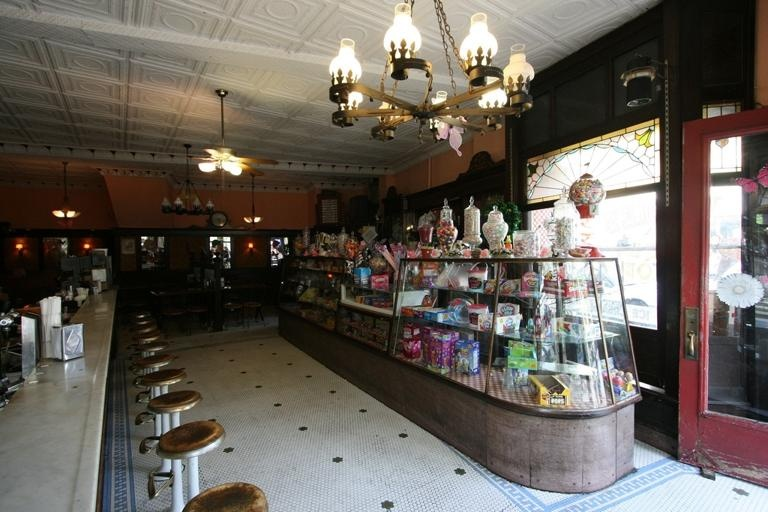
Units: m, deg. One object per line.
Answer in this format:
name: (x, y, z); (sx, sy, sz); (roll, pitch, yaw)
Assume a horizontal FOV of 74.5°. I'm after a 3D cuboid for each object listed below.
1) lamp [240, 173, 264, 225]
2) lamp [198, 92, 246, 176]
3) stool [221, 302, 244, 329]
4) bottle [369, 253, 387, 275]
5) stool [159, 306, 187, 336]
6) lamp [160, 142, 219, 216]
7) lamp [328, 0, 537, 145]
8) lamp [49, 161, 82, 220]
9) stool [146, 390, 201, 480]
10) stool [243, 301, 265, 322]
lamp: (-3.758, -1.488, 14.309); (0.563, 1.433, 1.280); (-3, 1, -14)
lamp: (-2.460, -1.939, 7.654); (0.971, 1.110, 0.851); (0, 8, -16)
stool: (-3.570, 1.390, 11.898); (0.636, 0.680, 0.605); (1, -2, -26)
bottle: (-0.095, 0.135, 7.586); (0.275, 0.295, 0.275); (-3, 4, -35)
stool: (-4.555, 1.401, 10.845); (0.608, 0.613, 0.580); (5, 3, 8)
lamp: (-4.932, -1.652, 12.545); (1.566, 1.884, 1.597); (3, -5, -39)
lamp: (0.595, -2.175, 5.806); (1.740, 1.915, 1.846); (-2, -8, 27)
lamp: (-8.244, -1.527, 13.065); (0.658, 1.635, 2.497); (-3, 1, -33)
stool: (-2.266, 1.870, 5.392); (0.546, 0.692, 0.505); (1, -4, 7)
stool: (-3.201, 1.364, 12.348); (0.632, 0.608, 0.595); (0, 0, -4)
